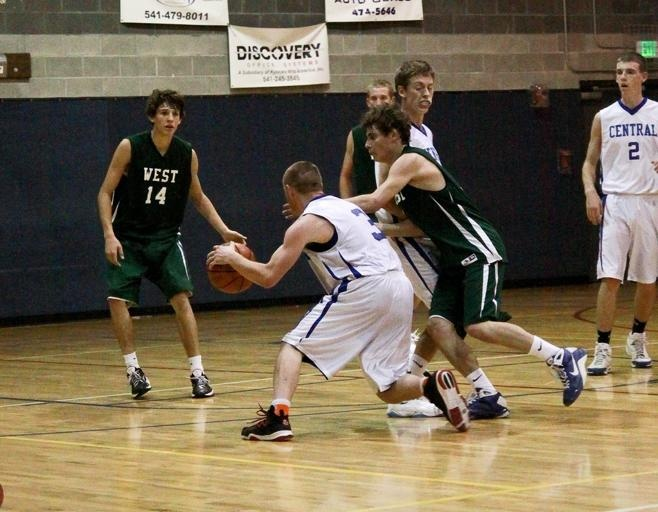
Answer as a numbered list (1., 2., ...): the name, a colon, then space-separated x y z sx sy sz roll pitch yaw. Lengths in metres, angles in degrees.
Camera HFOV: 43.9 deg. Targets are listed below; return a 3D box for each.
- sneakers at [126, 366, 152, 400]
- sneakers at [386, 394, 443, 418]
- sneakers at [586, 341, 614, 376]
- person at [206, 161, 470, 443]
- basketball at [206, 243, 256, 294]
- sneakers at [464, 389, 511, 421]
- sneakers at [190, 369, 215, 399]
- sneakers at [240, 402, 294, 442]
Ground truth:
1. sneakers: -1.221 0.820 5.279 0.114 0.188 0.227 -7 9 -19
2. sneakers: 0.481 0.846 4.595 0.356 0.165 0.126 -3 -6 -3
3. sneakers: 1.893 0.714 5.701 0.157 0.192 0.321 -1 9 18
4. person: 0.089 0.249 4.278 1.371 1.413 0.703 2 -3 18
5. basketball: -0.602 0.073 4.844 0.277 0.365 0.302 2 -1 5
6. sneakers: 0.841 0.796 4.315 0.308 0.155 0.115 -2 -3 5
7. sneakers: -0.828 0.844 5.351 0.109 0.126 0.266 -5 -7 -10
8. sneakers: -0.313 0.841 4.094 0.348 0.188 0.128 -6 -16 43
